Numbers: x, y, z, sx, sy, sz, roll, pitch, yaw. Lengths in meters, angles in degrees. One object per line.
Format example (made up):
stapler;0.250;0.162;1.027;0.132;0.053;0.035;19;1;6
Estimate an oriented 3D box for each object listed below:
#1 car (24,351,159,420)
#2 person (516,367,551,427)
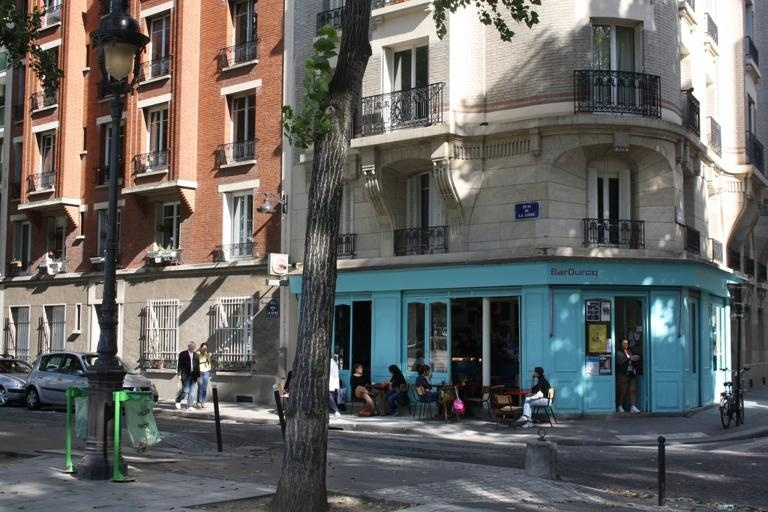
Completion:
car;-10.502;4.444;40.860;4.895;2.220;2.860;-2;-6;30
person;4.879;4.439;36.189;0.951;1.787;0.594;0;-2;1
